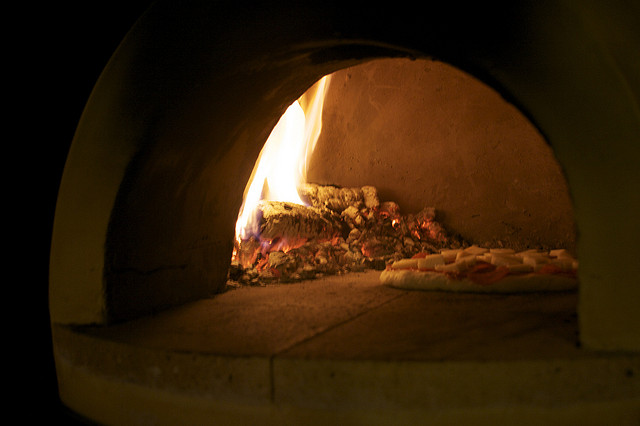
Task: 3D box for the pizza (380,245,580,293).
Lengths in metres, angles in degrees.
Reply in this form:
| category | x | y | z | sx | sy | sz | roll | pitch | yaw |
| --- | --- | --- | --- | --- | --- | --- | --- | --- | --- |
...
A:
| category | x | y | z | sx | sy | sz | roll | pitch | yaw |
| --- | --- | --- | --- | --- | --- | --- | --- | --- | --- |
| pizza | 1.244 | 0.424 | 4.694 | 1.464 | 0.242 | 0.880 | 1 | 12 | 14 |
